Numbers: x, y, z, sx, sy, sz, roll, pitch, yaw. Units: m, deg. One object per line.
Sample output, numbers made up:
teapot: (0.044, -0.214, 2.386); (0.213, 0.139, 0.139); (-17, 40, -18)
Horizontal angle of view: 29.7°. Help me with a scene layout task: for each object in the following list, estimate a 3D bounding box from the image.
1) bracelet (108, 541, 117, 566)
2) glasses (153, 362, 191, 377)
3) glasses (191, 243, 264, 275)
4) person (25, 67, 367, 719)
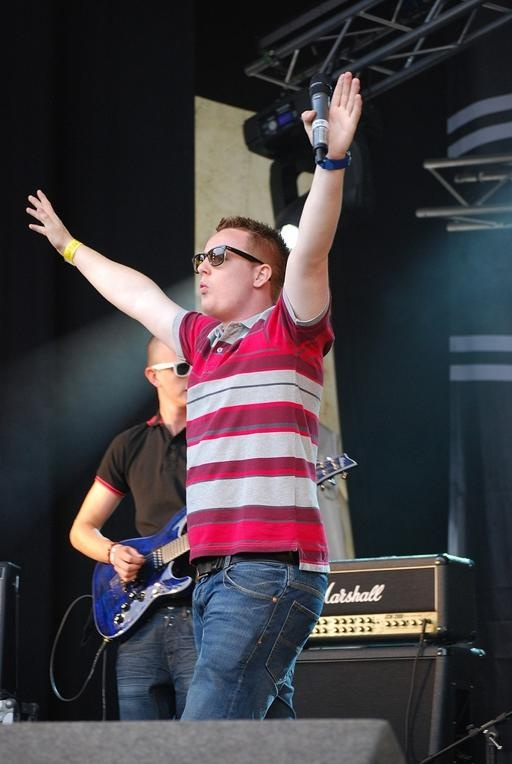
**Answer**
bracelet: (-0.450, 0.534, 3.015); (0.022, 0.052, 0.051); (8, 1, -9)
glasses: (-0.321, -0.052, 3.611); (0.113, 0.039, 0.085); (-5, -5, 10)
glasses: (-0.054, -0.246, 1.942); (0.079, 0.021, 0.077); (15, -16, -31)
person: (-0.053, 0.000, 1.815); (0.386, 1.079, 0.709); (4, 4, -9)
